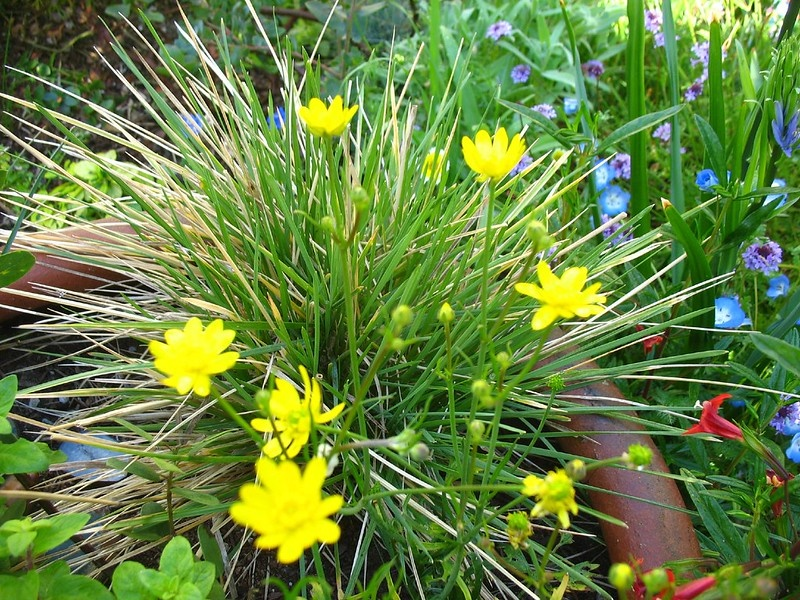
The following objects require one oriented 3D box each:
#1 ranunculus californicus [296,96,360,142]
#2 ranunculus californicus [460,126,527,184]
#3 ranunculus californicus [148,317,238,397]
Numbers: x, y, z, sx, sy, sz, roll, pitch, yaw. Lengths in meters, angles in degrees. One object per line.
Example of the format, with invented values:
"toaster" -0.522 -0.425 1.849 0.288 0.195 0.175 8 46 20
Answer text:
"ranunculus californicus" -0.118 -0.321 1.079 0.096 0.055 0.115 7 14 39
"ranunculus californicus" 0.153 -0.240 1.043 0.113 0.068 0.117 0 1 -2
"ranunculus californicus" -0.302 0.078 0.905 0.112 0.052 0.113 -18 35 -34
